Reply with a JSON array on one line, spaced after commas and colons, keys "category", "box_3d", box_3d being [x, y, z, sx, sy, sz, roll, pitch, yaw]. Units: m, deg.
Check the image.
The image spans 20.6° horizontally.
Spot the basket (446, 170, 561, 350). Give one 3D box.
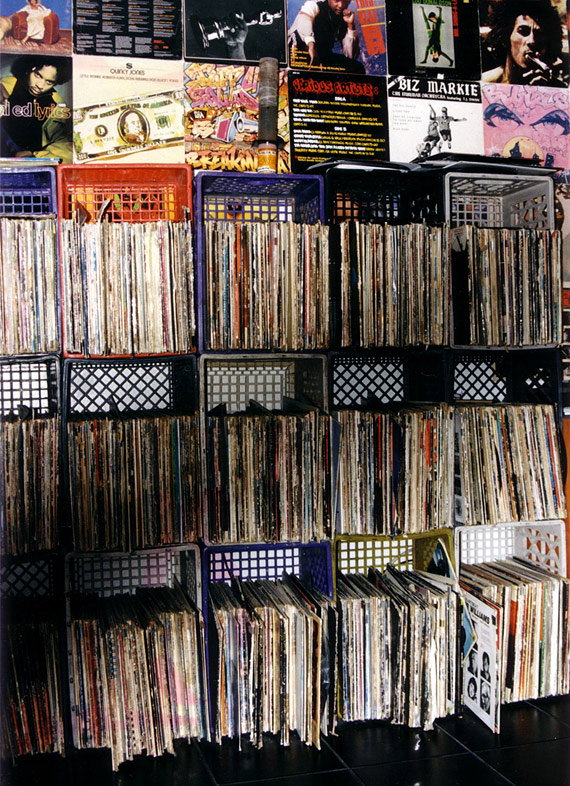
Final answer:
[{"category": "basket", "box_3d": [0.642, -0.354, 4.596, 0.286, 0.564, 0.159, 1, -1, -3]}]

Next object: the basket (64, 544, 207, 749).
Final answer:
[{"category": "basket", "box_3d": [-0.432, 0.710, 4.490, 0.411, 0.689, 0.416, 0, -2, -10]}]

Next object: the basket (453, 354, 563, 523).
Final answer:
[{"category": "basket", "box_3d": [0.637, 0.150, 4.620, 0.286, 0.526, 0.131, 1, -1, -29]}]

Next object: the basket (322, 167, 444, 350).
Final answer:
[{"category": "basket", "box_3d": [0.279, -0.367, 4.451, 0.313, 0.563, 0.144, 0, -3, -44]}]

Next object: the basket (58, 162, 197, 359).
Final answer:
[{"category": "basket", "box_3d": [-0.438, -0.378, 4.371, 0.370, 0.513, 0.345, -2, 11, -5]}]

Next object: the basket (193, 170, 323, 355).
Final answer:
[{"category": "basket", "box_3d": [-0.100, -0.366, 4.478, 0.302, 0.564, 0.153, -3, 6, -16]}]

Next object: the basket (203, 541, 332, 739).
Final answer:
[{"category": "basket", "box_3d": [-0.048, 0.718, 4.373, 0.140, 0.585, 0.361, -1, -1, -11]}]

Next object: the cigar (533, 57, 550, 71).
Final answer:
[{"category": "cigar", "box_3d": [0.815, -1.037, 4.953, 0.063, 0.024, 0.004, 29, -13, -20]}]

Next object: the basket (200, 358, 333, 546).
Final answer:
[{"category": "basket", "box_3d": [-0.058, 0.113, 4.512, 0.353, 0.518, 0.517, -2, 11, -3]}]
